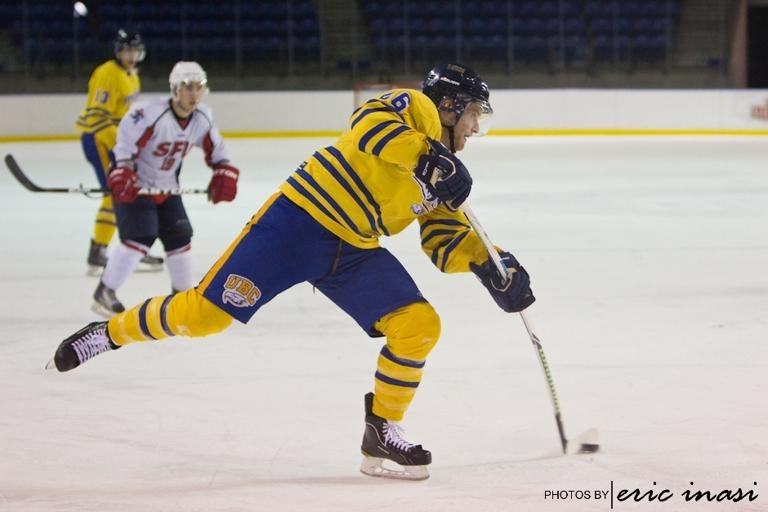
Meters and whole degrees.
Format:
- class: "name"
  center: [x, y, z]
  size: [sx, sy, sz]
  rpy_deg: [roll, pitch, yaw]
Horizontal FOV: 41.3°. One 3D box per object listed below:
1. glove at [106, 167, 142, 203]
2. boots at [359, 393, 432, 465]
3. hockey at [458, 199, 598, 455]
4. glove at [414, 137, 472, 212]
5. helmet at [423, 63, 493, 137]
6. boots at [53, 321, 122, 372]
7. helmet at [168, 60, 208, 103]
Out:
- class: "glove"
  center: [-1.773, -0.490, 6.872]
  size: [0.205, 0.230, 0.188]
  rpy_deg: [0, 14, -13]
- class: "boots"
  center: [0.076, 0.972, 5.661]
  size: [0.491, 0.320, 0.158]
  rpy_deg: [9, 14, 34]
- class: "hockey"
  center: [0.951, 0.502, 6.686]
  size: [0.279, 1.741, 0.209]
  rpy_deg: [-20, -20, -13]
- class: "glove"
  center: [0.334, -0.448, 5.569]
  size: [0.397, 0.278, 0.165]
  rpy_deg: [29, -33, -18]
- class: "helmet"
  center: [0.424, -0.947, 5.884]
  size: [0.491, 0.337, 0.349]
  rpy_deg: [22, 18, 7]
- class: "boots"
  center: [-1.759, 0.545, 6.055]
  size: [0.451, 0.138, 0.189]
  rpy_deg: [-25, 18, -6]
- class: "helmet"
  center: [-1.313, -1.189, 6.915]
  size: [0.263, 0.226, 0.260]
  rpy_deg: [-1, 2, -30]
